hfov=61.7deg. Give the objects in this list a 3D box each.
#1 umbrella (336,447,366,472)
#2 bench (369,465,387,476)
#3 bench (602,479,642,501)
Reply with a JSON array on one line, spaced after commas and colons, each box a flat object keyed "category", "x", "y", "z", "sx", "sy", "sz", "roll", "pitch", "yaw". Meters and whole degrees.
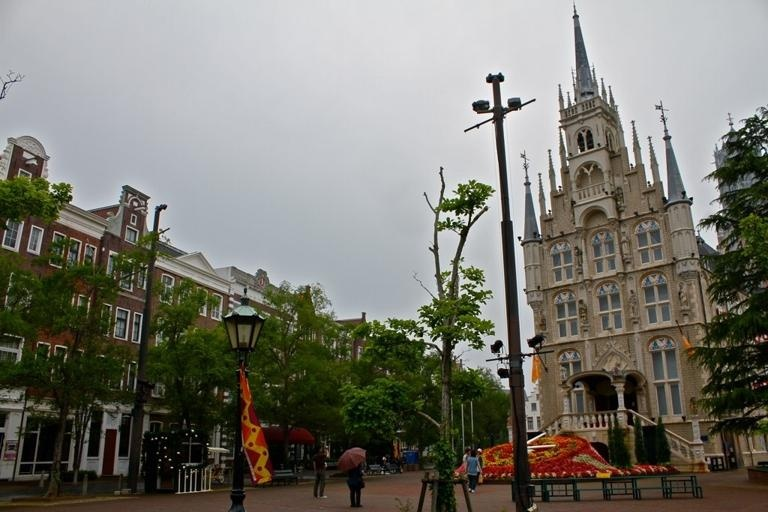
[{"category": "umbrella", "x": -1.479, "y": 9.524, "z": 30.109, "sx": 1.141, "sy": 1.041, "sz": 1.038, "roll": -3, "pitch": -22, "yaw": 3}, {"category": "bench", "x": -0.687, "y": 18.465, "z": 55.521, "sx": 1.004, "sy": 0.809, "sz": 2.998, "roll": -6, "pitch": -22, "yaw": 10}, {"category": "bench", "x": 11.510, "y": 11.381, "z": 31.336, "sx": 1.668, "sy": 1.068, "sz": 5.018, "roll": -9, "pitch": -23, "yaw": 16}]
